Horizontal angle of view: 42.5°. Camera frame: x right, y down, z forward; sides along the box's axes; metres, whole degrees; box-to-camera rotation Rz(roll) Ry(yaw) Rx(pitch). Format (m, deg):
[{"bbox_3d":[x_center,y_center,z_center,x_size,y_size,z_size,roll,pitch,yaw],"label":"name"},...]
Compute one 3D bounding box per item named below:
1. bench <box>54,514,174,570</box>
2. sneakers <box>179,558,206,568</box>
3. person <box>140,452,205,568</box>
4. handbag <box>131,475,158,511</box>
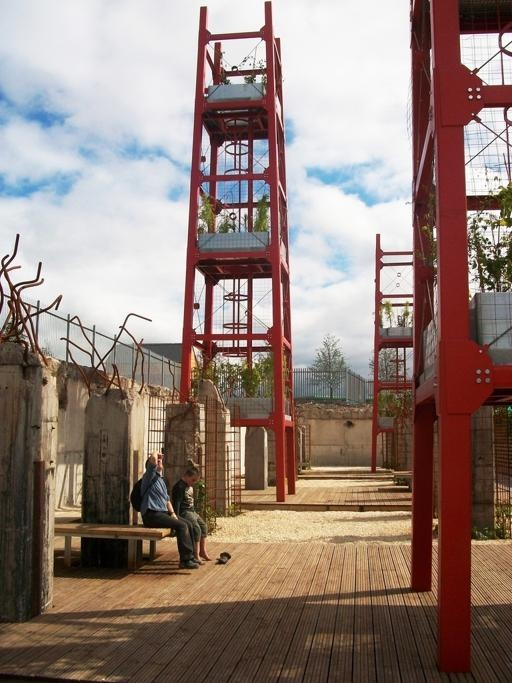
[{"bbox_3d":[-1.593,2.290,7.432,1.291,0.512,1.273,-2,-8,0],"label":"bench"},{"bbox_3d":[-0.702,2.425,7.228,0.248,0.127,0.091,-1,1,4],"label":"sneakers"},{"bbox_3d":[-1.003,1.868,7.429,0.551,1.202,0.499,-6,-11,8],"label":"person"},{"bbox_3d":[-1.305,1.752,7.625,0.241,0.553,0.342,0,-13,3],"label":"handbag"}]
